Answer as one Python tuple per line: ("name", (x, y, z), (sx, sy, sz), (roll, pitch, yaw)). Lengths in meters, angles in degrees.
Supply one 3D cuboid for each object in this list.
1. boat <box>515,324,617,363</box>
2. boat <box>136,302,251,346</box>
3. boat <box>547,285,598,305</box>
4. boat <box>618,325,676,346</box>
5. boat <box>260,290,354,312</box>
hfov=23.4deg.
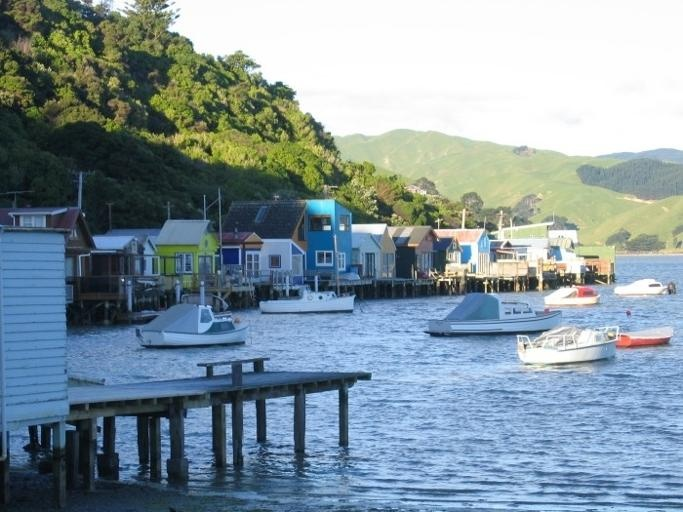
("boat", (14.492, 5.759, 105.808), (6.338, 2.278, 1.873), (-1, -2, -15))
("boat", (-9.944, 4.735, 111.873), (8.287, 3.159, 4.568), (0, -2, -41))
("boat", (20.399, 3.527, 145.106), (3.278, 1.438, 2.115), (-1, 4, -7))
("boat", (20.896, 5.554, 112.951), (4.446, 1.302, 1.686), (0, -2, -38))
("boat", (-2.902, 3.825, 130.112), (7.254, 2.074, 2.760), (-1, 1, -12))
